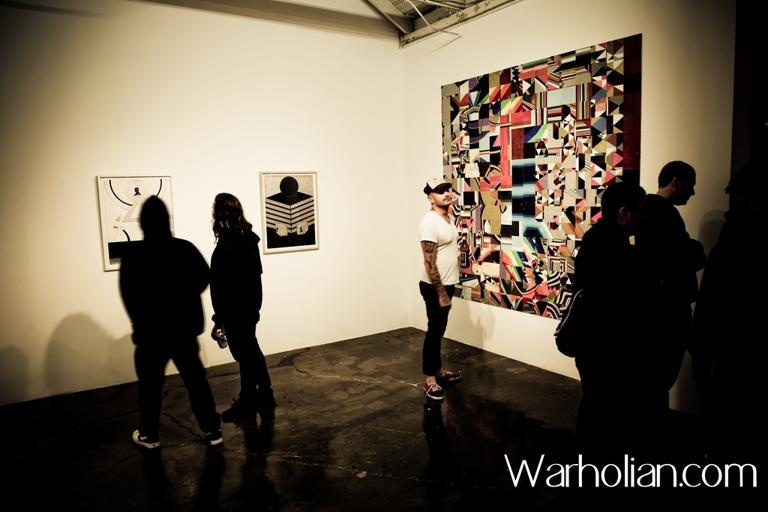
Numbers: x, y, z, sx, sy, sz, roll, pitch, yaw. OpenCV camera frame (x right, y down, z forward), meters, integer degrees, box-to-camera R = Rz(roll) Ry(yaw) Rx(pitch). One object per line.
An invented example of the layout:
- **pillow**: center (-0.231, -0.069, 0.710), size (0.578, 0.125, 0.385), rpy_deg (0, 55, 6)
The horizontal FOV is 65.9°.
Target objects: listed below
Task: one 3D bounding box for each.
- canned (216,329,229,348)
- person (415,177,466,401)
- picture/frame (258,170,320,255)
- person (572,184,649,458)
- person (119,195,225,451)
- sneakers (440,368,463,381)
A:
- **canned**: center (-1.594, 0.823, 5.853), size (0.109, 0.205, 0.049), rpy_deg (-1, 8, -7)
- **person**: center (0.575, 0.345, 6.200), size (0.376, 2.246, 0.529), rpy_deg (3, 10, 21)
- **picture/frame**: center (-1.212, -0.548, 7.389), size (0.954, 1.252, 0.048), rpy_deg (-7, 11, -33)
- **person**: center (1.746, 0.479, 4.441), size (0.508, 1.982, 0.420), rpy_deg (2, 9, 19)
- **person**: center (-1.947, 0.662, 5.411), size (0.797, 2.277, 0.410), rpy_deg (-4, 10, -21)
- **sneakers**: center (0.744, 1.323, 6.537), size (0.270, 0.119, 0.117), rpy_deg (-1, -1, -18)
